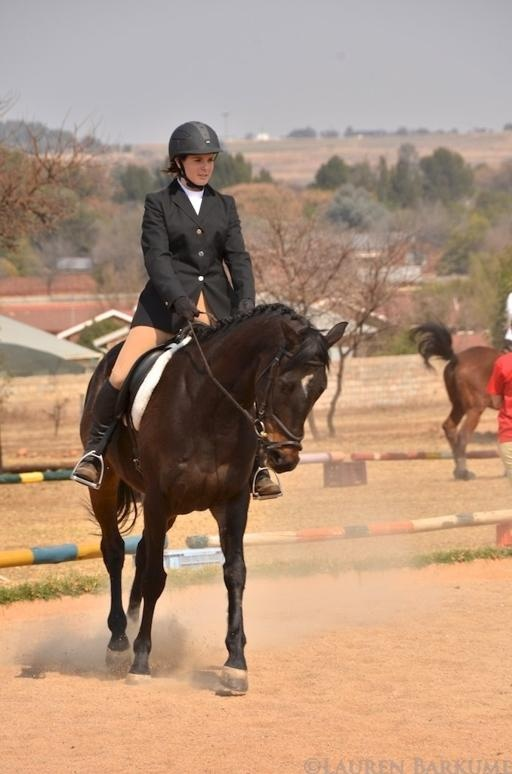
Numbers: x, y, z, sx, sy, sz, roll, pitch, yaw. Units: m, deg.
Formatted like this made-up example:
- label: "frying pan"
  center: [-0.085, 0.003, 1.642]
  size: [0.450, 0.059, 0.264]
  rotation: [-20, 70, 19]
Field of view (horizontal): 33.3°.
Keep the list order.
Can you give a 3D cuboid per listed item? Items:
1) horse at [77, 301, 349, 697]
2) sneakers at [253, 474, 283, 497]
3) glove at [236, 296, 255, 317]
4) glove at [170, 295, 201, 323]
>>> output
- label: "horse"
  center: [-0.399, 0.701, 5.464]
  size: [0.872, 2.122, 3.335]
  rotation: [2, -3, -21]
- label: "sneakers"
  center: [0.081, 0.577, 4.931]
  size: [0.089, 0.089, 0.224]
  rotation: [0, -5, -11]
- label: "glove"
  center: [-0.053, -0.459, 4.955]
  size: [0.094, 0.059, 0.132]
  rotation: [1, 13, -2]
- label: "glove"
  center: [-0.391, -0.418, 4.810]
  size: [0.136, 0.054, 0.168]
  rotation: [-2, 36, -47]
